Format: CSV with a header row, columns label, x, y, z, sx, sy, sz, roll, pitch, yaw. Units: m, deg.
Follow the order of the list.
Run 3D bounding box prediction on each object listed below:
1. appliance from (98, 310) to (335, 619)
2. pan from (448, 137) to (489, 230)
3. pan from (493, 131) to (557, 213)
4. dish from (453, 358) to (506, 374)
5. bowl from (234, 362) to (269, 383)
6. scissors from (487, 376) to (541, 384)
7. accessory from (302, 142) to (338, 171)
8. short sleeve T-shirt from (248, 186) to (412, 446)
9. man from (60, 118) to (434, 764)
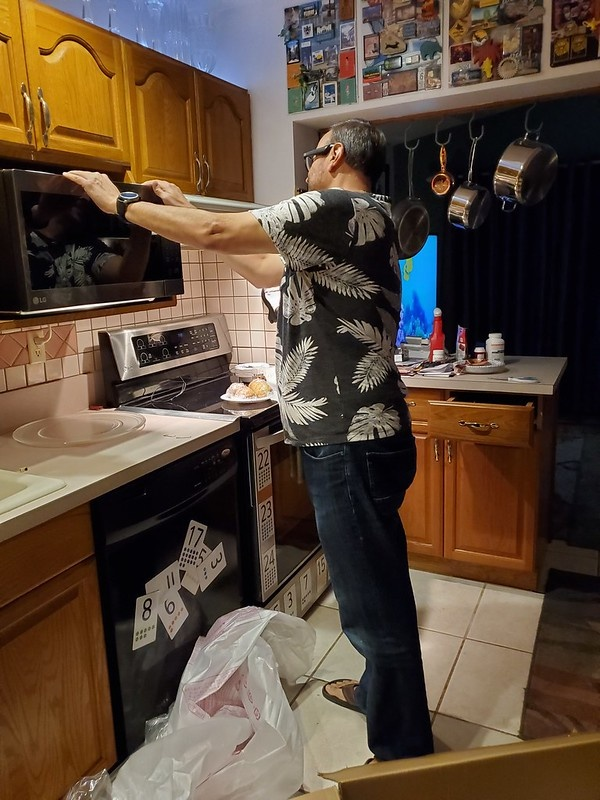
label,x,y,z,sx,sy,sz,roll,pitch,yaw
appliance,-0.184,0.199,2.712,1.042,1.560,1.150,3,14,21
pan,0.710,-0.927,2.543,0.195,0.435,0.132,-15,29,-27
pan,0.880,-0.894,2.227,0.243,0.241,0.173,-2,11,7
dish,0.760,-0.138,2.414,0.219,0.046,0.181,-1,11,9
bowl,-0.211,-0.134,2.461,0.108,0.038,0.109,0,10,0
scissors,0.822,-0.077,2.201,0.183,0.009,0.134,1,11,21
accessory,0.041,-0.600,1.395,0.078,0.022,0.075,-31,12,-6
short sleeve T-shirt,0.100,-0.150,1.521,0.487,0.725,0.640,2,9,13
man,-0.049,0.105,1.544,0.923,1.570,0.644,3,-1,24
